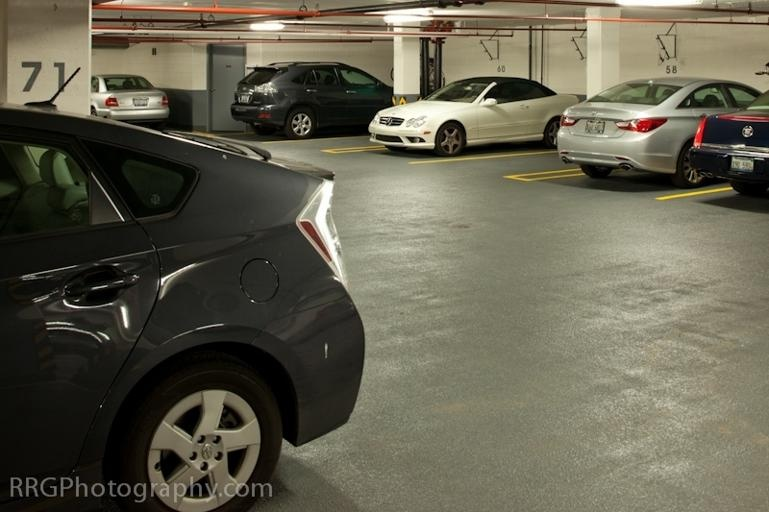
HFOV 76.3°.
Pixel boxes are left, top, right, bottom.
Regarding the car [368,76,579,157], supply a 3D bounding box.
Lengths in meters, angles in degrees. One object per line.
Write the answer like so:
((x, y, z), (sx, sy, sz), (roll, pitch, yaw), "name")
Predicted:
((2.729, -4.362, 15.391), (5.782, 2.448, 1.765), (-4, 12, -23), "car")

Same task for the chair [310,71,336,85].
((-2.329, -6.794, 18.773), (0.695, 0.692, 0.500), (2, 13, -3), "chair")

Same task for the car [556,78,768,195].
((6.508, -2.943, 11.336), (4.925, 1.532, 2.192), (-13, 15, -37), "car")
